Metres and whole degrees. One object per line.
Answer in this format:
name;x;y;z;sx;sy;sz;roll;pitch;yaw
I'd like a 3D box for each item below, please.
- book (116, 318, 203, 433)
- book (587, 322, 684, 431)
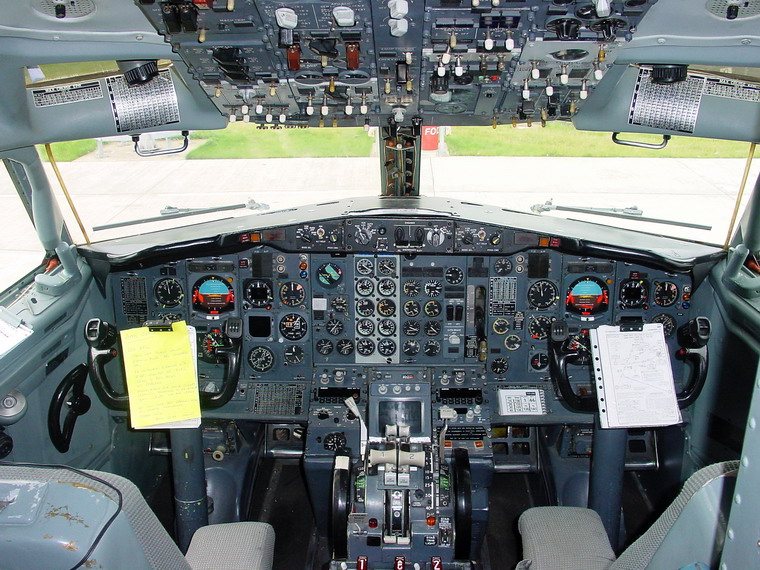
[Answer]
book;-1.297;0.554;3.590;0.415;0.577;0.419;-8;31;-6
book;1.708;0.682;4.106;0.535;0.751;0.547;-3;31;2
